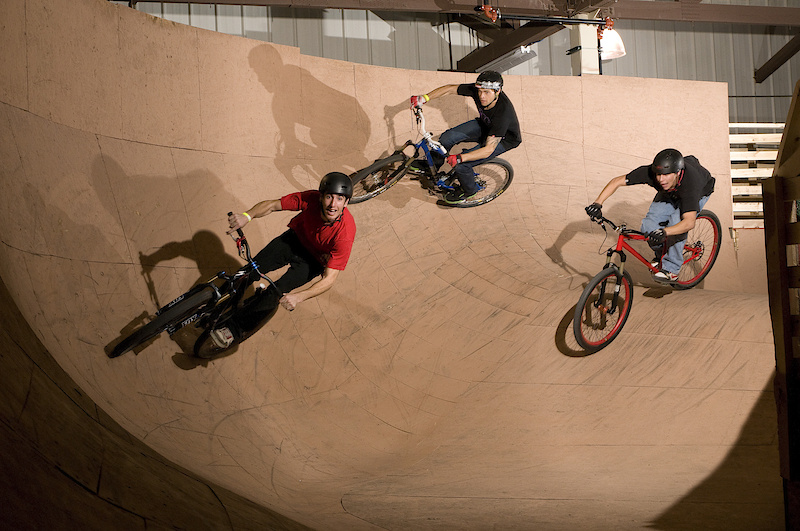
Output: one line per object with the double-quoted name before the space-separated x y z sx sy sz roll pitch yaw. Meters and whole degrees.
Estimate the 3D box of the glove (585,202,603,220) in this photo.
"glove" 3.003 -0.842 10.456 0.229 0.277 0.421 6 7 15

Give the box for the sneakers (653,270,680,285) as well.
"sneakers" 4.392 0.192 11.350 0.176 0.238 0.518 -11 11 -39

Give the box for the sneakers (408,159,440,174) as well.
"sneakers" 0.365 -1.646 11.281 0.581 0.176 0.224 1 17 -10

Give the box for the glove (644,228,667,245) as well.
"glove" 3.879 -0.438 10.254 0.280 0.274 0.244 6 7 13

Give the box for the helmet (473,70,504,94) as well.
"helmet" 1.479 -3.055 11.211 0.381 0.234 0.369 -1 26 -12

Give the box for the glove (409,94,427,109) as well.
"glove" 0.326 -2.787 11.534 0.263 0.310 0.833 4 7 -2

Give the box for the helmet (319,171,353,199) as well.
"helmet" -0.845 -1.075 9.014 0.409 0.332 0.276 3 7 -8

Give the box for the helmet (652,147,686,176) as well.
"helmet" 4.168 -1.631 10.600 0.483 0.375 0.346 -42 45 -20
